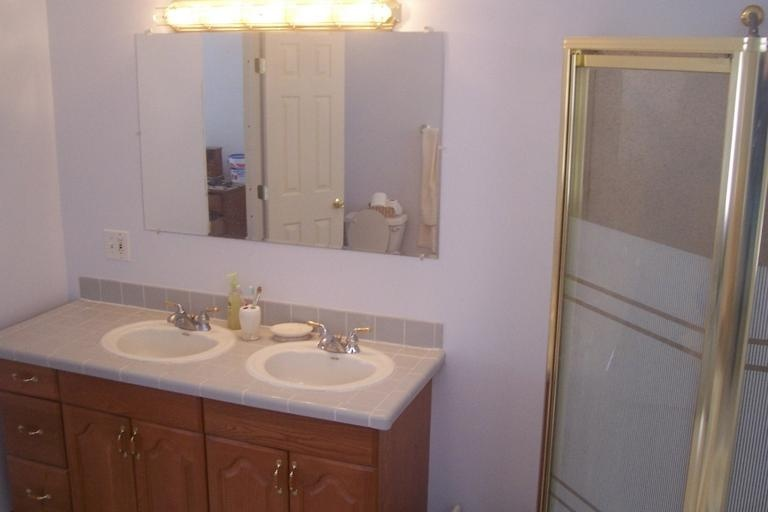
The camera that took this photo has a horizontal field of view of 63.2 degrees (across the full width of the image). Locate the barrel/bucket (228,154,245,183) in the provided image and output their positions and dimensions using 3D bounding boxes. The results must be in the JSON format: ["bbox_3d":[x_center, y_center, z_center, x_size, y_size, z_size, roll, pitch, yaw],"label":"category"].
[{"bbox_3d":[-0.640,-0.396,2.811,0.110,0.115,0.111,1,15,0],"label":"barrel/bucket"}]

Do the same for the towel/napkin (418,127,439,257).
[{"bbox_3d":[0.188,-0.269,2.575,0.081,0.526,0.032,0,14,3],"label":"towel/napkin"}]

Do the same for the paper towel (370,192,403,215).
[{"bbox_3d":[0.008,-0.225,2.613,0.085,0.118,0.115,7,16,26],"label":"paper towel"}]

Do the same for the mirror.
[{"bbox_3d":[-0.575,-0.541,2.731,1.451,0.945,0.043,7,11,25],"label":"mirror"}]

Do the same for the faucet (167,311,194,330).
[{"bbox_3d":[-0.921,0.286,2.805,0.070,0.062,0.115,3,-2,-40],"label":"faucet"}]

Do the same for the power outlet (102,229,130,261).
[{"bbox_3d":[-1.308,-0.063,3.047,0.135,0.160,0.021,5,13,13],"label":"power outlet"}]

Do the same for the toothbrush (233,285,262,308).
[{"bbox_3d":[-0.614,0.182,2.831,0.119,0.127,0.071,3,4,11],"label":"toothbrush"}]
